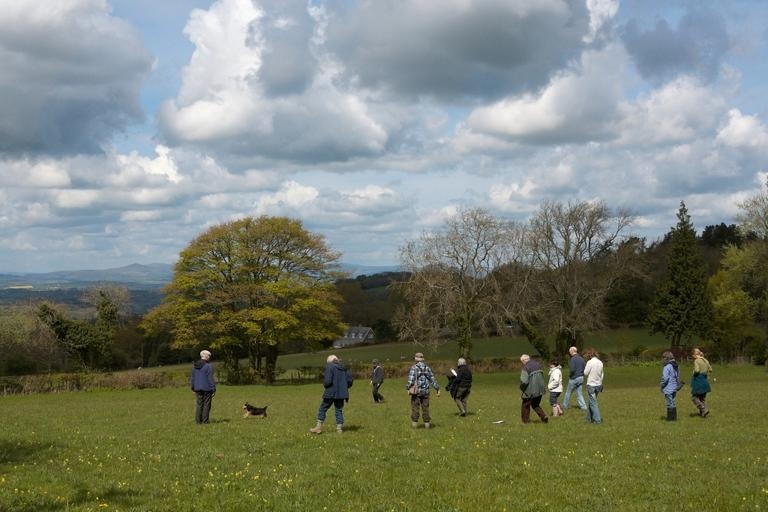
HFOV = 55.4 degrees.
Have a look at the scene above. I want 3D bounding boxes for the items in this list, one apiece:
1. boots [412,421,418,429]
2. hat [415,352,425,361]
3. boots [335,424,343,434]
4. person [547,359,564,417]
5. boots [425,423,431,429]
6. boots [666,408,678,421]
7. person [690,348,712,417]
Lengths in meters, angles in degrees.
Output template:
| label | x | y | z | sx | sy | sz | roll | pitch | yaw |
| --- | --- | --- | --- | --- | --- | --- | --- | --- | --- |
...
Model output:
| label | x | y | z | sx | sy | sz | roll | pitch | yaw |
| --- | --- | --- | --- | --- | --- | --- | --- | --- | --- |
| boots | 1.600 | 8.573 | 36.945 | 0.311 | 0.456 | 0.293 | -1 | 1 | 14 |
| hat | 1.793 | 5.087 | 36.606 | 0.482 | 0.376 | 0.671 | 6 | -8 | 3 |
| boots | -2.213 | 8.604 | 36.400 | 0.492 | 0.587 | 0.432 | 0 | -5 | -3 |
| person | 9.127 | 7.034 | 38.869 | 0.734 | 2.976 | 1.088 | 2 | 13 | 12 |
| boots | 2.243 | 8.596 | 36.897 | 0.267 | 0.266 | 0.251 | 4 | -9 | -21 |
| boots | 14.764 | 8.095 | 37.589 | 0.503 | 0.679 | 0.734 | 4 | 13 | 20 |
| person | 16.551 | 6.715 | 38.314 | 0.932 | 3.657 | 1.279 | 5 | 14 | 23 |
